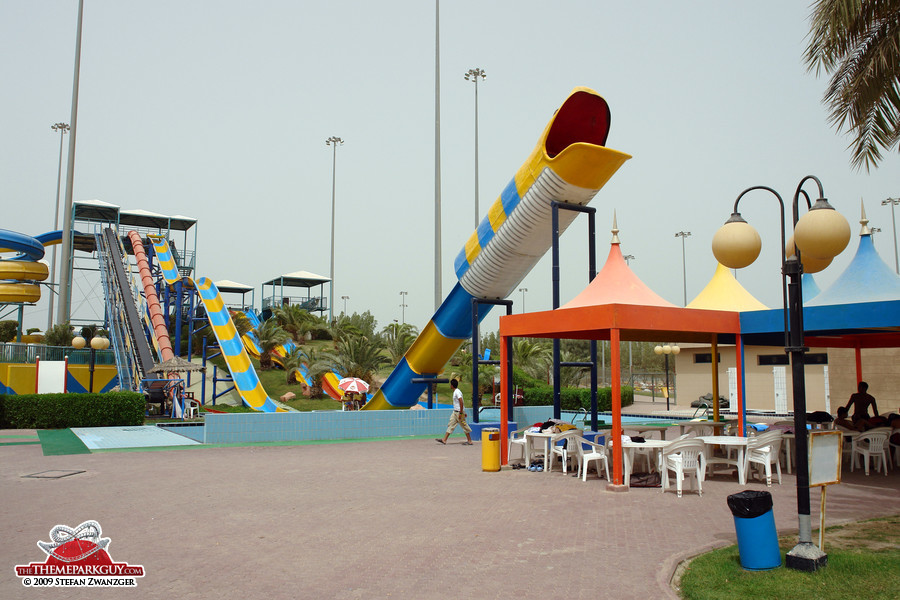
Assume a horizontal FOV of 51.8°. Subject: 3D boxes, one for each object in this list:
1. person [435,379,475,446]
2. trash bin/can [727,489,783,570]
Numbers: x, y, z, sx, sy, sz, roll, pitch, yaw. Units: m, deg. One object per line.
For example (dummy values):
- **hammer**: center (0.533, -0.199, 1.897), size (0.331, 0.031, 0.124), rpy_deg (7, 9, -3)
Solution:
- **person**: center (0.135, 3.581, 29.374), size (1.217, 2.573, 0.977), rpy_deg (2, -2, 3)
- **trash bin/can**: center (5.689, 4.270, 17.442), size (0.858, 1.506, 0.809), rpy_deg (-1, -2, 2)
